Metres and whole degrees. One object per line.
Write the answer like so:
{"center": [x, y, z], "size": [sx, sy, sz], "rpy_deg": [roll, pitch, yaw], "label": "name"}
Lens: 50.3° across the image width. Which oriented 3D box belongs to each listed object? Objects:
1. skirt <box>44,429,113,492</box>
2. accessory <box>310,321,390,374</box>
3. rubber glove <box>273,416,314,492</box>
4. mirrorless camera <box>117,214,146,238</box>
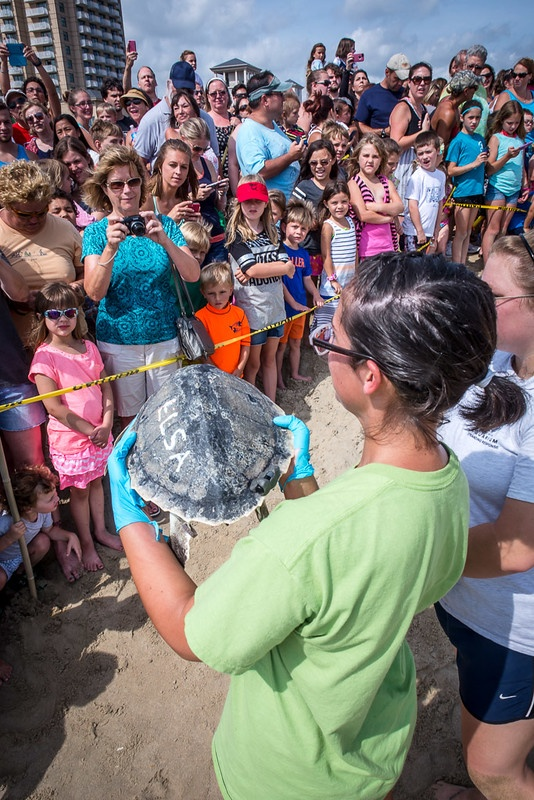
{"center": [-1.058, 0.368, 3.303], "size": [0.330, 0.422, 0.226], "rpy_deg": [-12, 33, -20], "label": "skirt"}
{"center": [0.160, -0.120, 1.131], "size": [0.115, 0.032, 0.105], "rpy_deg": [20, 14, 2], "label": "accessory"}
{"center": [0.102, 0.175, 1.773], "size": [0.161, 0.055, 0.205], "rpy_deg": [-27, 46, 16], "label": "rubber glove"}
{"center": [-0.672, -0.876, 2.823], "size": [0.152, 0.102, 0.103], "rpy_deg": [-13, 31, -30], "label": "mirrorless camera"}
